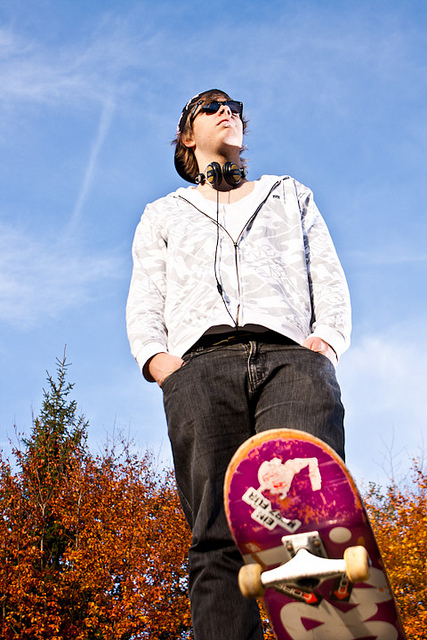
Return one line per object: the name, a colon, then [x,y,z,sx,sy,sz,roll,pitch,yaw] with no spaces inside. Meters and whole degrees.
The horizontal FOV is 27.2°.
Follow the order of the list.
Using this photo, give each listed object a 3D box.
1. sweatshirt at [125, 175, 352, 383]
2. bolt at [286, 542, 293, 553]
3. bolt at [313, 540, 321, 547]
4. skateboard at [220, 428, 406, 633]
sweatshirt: [0.110,-0.233,3.886,1.014,0.854,0.508,-5,-13,8]
bolt: [0.247,0.730,2.844,0.008,0.022,0.024,8,11,0]
bolt: [0.334,0.715,2.836,0.024,0.021,0.011,-4,-25,-1]
skateboard: [0.306,0.689,2.916,0.515,0.662,0.454,-8,-25,7]
